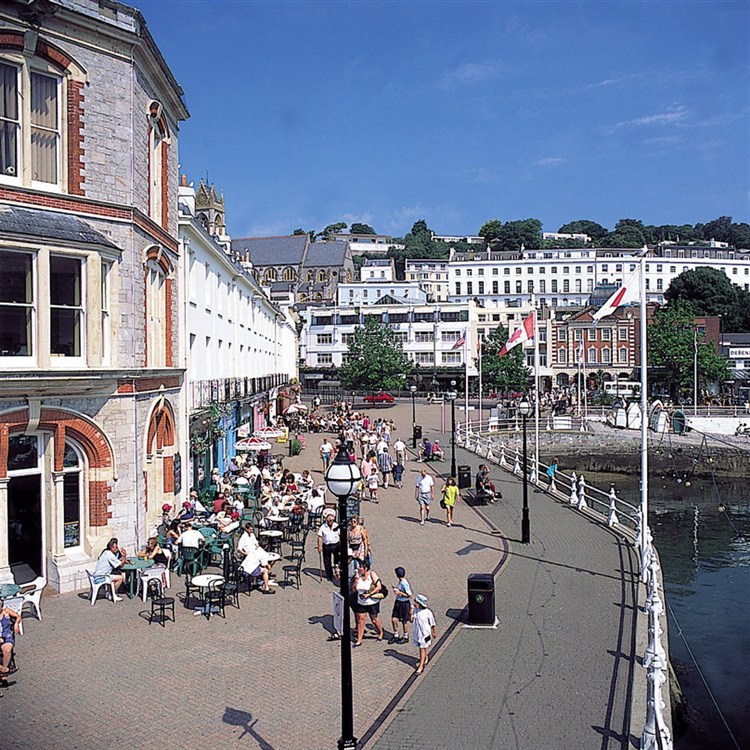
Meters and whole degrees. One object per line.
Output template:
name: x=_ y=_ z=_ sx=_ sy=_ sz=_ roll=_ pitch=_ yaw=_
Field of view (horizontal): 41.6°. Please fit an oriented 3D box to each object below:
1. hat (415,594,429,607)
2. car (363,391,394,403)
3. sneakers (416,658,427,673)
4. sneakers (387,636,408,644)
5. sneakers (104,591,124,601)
hat: x=0.772 y=3.860 z=16.963 sx=0.224 sy=0.093 sz=0.252 roll=16 pitch=14 yaw=-40
car: x=0.368 y=1.743 z=76.018 sx=1.457 sy=0.729 sz=0.962 roll=2 pitch=-2 yaw=14
sneakers: x=0.794 y=4.954 z=17.032 sx=0.181 sy=0.275 sz=0.504 roll=-2 pitch=3 yaw=3
sneakers: x=0.435 y=4.917 z=18.283 sx=0.358 sy=0.181 sz=0.149 roll=3 pitch=2 yaw=0
sneakers: x=-5.244 y=4.475 z=19.898 sx=0.345 sy=0.301 sz=0.148 roll=-1 pitch=0 yaw=12
